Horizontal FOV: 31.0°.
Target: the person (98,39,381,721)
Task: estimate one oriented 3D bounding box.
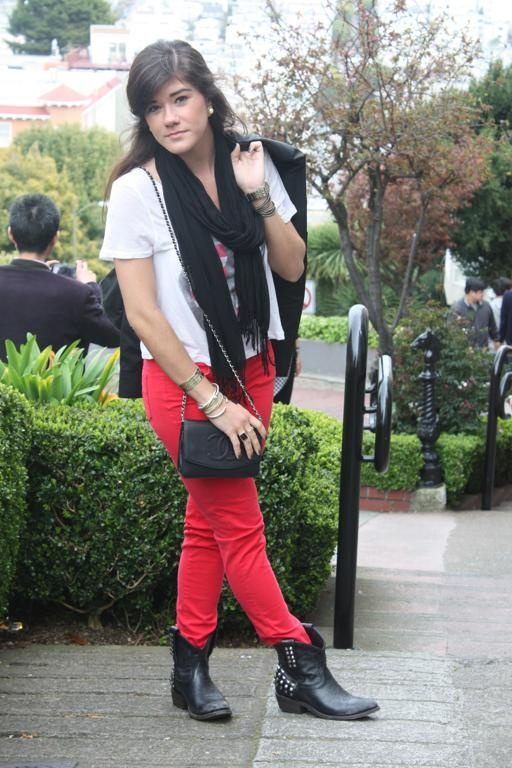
[{"bbox_3d":[-0.072,0.002,2.549,0.713,1.818,0.392,1,-2,-10],"label":"person"}]

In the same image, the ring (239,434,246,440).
[{"bbox_3d":[-0.030,0.140,2.381,0.018,0.014,0.005,-1,-3,-17],"label":"ring"}]

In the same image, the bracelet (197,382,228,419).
[{"bbox_3d":[-0.105,0.056,2.427,0.070,0.079,0.081,26,-44,-38],"label":"bracelet"}]

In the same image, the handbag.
[{"bbox_3d":[-0.067,0.164,2.377,0.249,0.153,0.094,-2,13,32],"label":"handbag"}]

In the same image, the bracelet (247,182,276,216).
[{"bbox_3d":[0.022,-0.495,2.485,0.050,0.063,0.095,-15,-15,8],"label":"bracelet"}]

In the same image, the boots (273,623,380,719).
[{"bbox_3d":[0.201,0.793,2.489,0.309,0.206,0.123,-2,2,32],"label":"boots"}]

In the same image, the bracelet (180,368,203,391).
[{"bbox_3d":[-0.161,-0.003,2.352,0.061,0.030,0.058,-40,11,17],"label":"bracelet"}]

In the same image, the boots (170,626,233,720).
[{"bbox_3d":[-0.151,0.807,2.554,0.129,0.224,0.265,1,0,-30],"label":"boots"}]
